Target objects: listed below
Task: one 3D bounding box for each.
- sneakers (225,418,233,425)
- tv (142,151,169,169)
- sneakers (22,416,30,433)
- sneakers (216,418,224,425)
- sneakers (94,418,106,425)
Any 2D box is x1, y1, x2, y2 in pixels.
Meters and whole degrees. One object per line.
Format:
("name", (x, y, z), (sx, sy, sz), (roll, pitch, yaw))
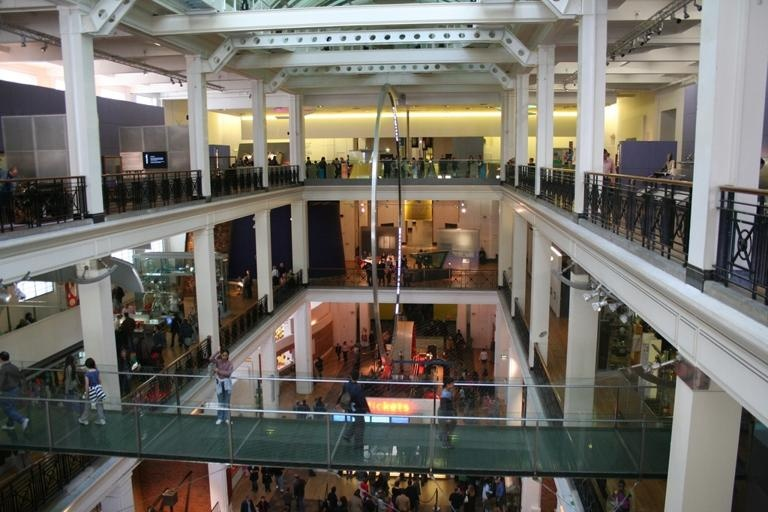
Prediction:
("sneakers", (-2.989, 3.181, 11.233), (0.089, 0.043, 0.128), (1, 2, 2))
("tv", (-7.192, -3.069, 18.496), (0.947, 0.803, 0.491), (0, 5, -6))
("sneakers", (-6.836, 3.198, 11.108), (0.103, 0.251, 0.083), (6, -8, -10))
("sneakers", (-3.204, 3.202, 11.299), (0.077, 0.063, 0.146), (1, -5, 3))
("sneakers", (-5.533, 3.215, 11.330), (0.190, 0.084, 0.070), (11, 11, -5))
